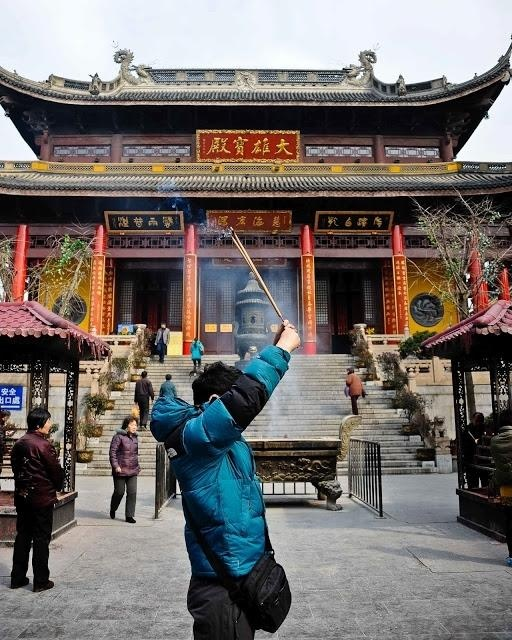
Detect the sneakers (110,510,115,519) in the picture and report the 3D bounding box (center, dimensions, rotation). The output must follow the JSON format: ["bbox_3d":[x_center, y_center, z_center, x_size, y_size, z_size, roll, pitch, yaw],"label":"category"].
[{"bbox_3d":[-1.784,2.399,6.931,0.044,0.111,0.049,-2,-10,-4],"label":"sneakers"}]

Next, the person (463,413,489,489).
[{"bbox_3d":[2.889,1.738,7.394,0.289,0.972,1.351,-4,-10,22],"label":"person"}]

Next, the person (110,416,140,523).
[{"bbox_3d":[-1.677,1.857,7.106,0.339,1.258,0.780,2,-10,-12],"label":"person"}]

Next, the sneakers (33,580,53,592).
[{"bbox_3d":[-1.580,1.970,4.165,0.158,0.065,0.104,5,-10,-30],"label":"sneakers"}]

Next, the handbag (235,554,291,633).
[{"bbox_3d":[0.044,1.016,2.085,0.127,0.253,0.210,-6,-11,30],"label":"handbag"}]

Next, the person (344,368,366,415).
[{"bbox_3d":[2.347,1.681,13.388,0.498,1.099,2.044,-2,-9,11],"label":"person"}]

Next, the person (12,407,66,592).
[{"bbox_3d":[-1.762,1.387,4.479,0.399,1.350,0.663,4,-10,-24],"label":"person"}]
